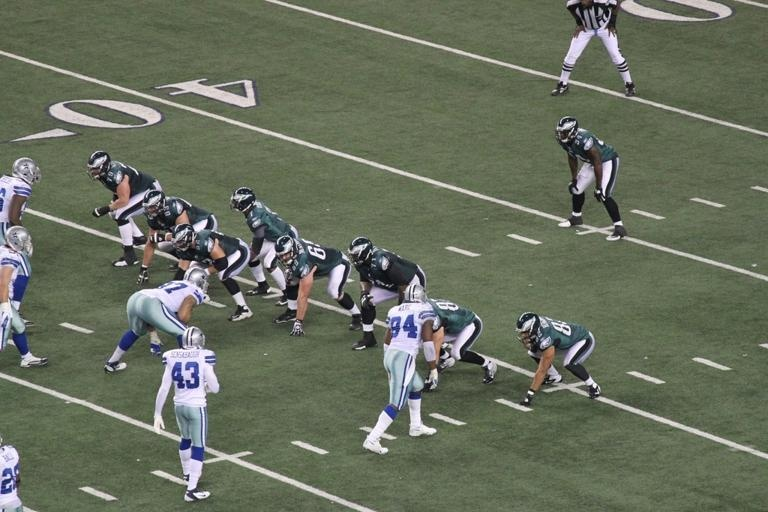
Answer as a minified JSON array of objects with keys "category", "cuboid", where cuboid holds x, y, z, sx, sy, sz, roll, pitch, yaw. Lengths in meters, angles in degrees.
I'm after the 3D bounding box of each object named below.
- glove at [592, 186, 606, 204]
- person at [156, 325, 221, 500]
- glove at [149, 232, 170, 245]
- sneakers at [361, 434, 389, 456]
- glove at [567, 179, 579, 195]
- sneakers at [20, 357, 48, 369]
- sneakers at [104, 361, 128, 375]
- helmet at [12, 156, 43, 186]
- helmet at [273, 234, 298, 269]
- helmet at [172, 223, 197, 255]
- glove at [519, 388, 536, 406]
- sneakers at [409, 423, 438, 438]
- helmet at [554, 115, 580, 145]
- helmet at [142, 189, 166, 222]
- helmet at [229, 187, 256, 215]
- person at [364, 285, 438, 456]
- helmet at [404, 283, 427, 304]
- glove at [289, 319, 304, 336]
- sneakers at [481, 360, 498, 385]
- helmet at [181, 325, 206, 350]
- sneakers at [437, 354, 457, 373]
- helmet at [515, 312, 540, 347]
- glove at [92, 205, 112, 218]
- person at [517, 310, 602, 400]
[{"category":"glove","cuboid":[3.511,-0.994,24.022,0.191,0.218,0.084,-16,20,47]},{"category":"person","cuboid":[-2.400,1.993,18.738,0.622,2.086,1.053,-1,20,-34]},{"category":"glove","cuboid":[-3.369,-0.273,22.814,0.223,0.109,0.326,6,14,44]},{"category":"sneakers","cuboid":[-0.120,2.471,19.409,0.519,0.258,0.144,7,33,-12]},{"category":"glove","cuboid":[3.075,-1.123,24.295,0.111,0.220,0.186,3,23,-19]},{"category":"sneakers","cuboid":[-4.893,1.512,20.922,0.450,0.142,0.131,-1,20,-6]},{"category":"sneakers","cuboid":[-3.755,1.585,20.907,0.408,0.100,0.162,-3,-12,-36]},{"category":"helmet","cuboid":[-5.430,-1.332,23.013,0.584,0.379,0.408,0,13,-33]},{"category":"helmet","cuboid":[-1.396,-0.078,21.457,0.420,0.381,0.433,0,-19,10]},{"category":"helmet","cuboid":[-2.926,-0.222,21.800,0.298,0.489,0.423,12,16,5]},{"category":"glove","cuboid":[1.971,1.917,20.361,0.177,0.257,0.315,12,15,6]},{"category":"sneakers","cuboid":[0.500,2.327,19.756,0.451,0.144,0.134,-4,22,-6]},{"category":"helmet","cuboid":[2.926,-2.013,23.986,0.313,0.421,0.347,8,16,-4]},{"category":"helmet","cuboid":[-3.450,-0.770,22.443,0.331,0.438,0.304,7,16,-8]},{"category":"helmet","cuboid":[-2.045,-0.874,22.544,0.531,0.374,0.300,6,47,2]},{"category":"person","cuboid":[0.339,1.505,19.713,0.839,2.106,1.305,11,16,0]},{"category":"helmet","cuboid":[0.428,0.511,19.972,0.334,0.239,0.254,-23,20,-30]},{"category":"glove","cuboid":[-1.251,1.038,21.939,0.201,0.252,0.326,9,14,-3]},{"category":"sneakers","cuboid":[1.486,1.641,20.822,0.149,0.327,0.198,11,8,34]},{"category":"helmet","cuboid":[-2.395,1.037,18.839,0.293,0.217,0.302,2,20,18]},{"category":"sneakers","cuboid":[0.943,1.531,21.105,0.399,0.132,0.113,-10,29,-22]},{"category":"helmet","cuboid":[1.929,1.021,20.163,0.294,0.483,0.234,10,17,-2]},{"category":"glove","cuboid":[-4.444,-0.684,23.346,0.297,0.105,0.202,-14,13,34]},{"category":"person","cuboid":[2.403,1.439,20.605,1.224,0.856,0.814,-17,31,-9]}]
